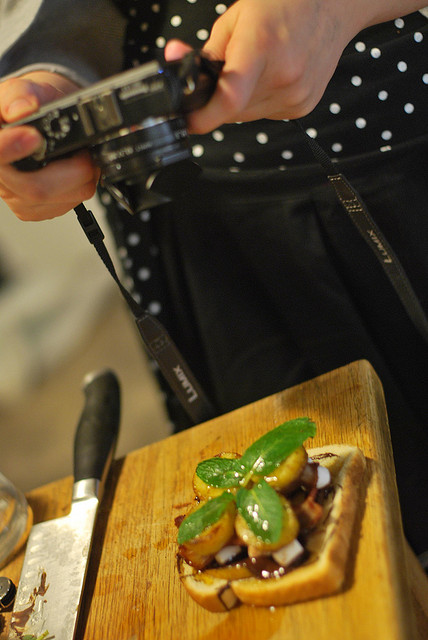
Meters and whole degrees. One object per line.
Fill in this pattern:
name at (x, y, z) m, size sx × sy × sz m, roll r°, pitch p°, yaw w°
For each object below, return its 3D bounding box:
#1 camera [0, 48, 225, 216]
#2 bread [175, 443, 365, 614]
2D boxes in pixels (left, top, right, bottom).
camera at (-0.070, -0.166, 0.518) m, size 0.220 × 0.142 × 0.117 m, roll -21°, pitch 93°, yaw 10°
bread at (0.055, 0.207, 0.519) m, size 0.162 × 0.038 × 0.164 m, roll -28°, pitch 11°, yaw 22°
